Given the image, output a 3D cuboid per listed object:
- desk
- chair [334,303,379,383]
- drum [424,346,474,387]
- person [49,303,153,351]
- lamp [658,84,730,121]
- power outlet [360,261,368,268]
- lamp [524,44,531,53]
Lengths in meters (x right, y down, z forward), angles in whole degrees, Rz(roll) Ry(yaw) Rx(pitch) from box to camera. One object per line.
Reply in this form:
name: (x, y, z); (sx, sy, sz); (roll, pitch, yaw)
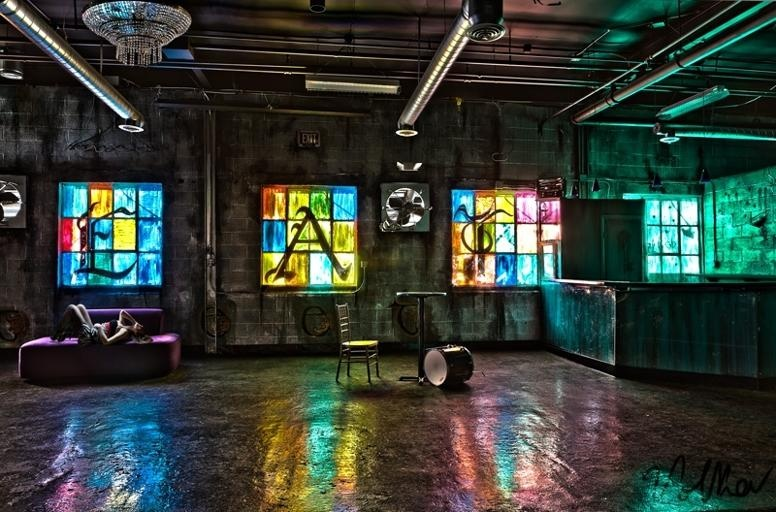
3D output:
desk: (0.560, 1.524, 11.662); (1.235, 1.993, 1.275); (-1, -10, 6)
chair: (-0.544, 1.450, 11.430); (0.791, 1.334, 2.071); (-2, 0, -3)
drum: (0.965, 1.789, 10.368); (0.782, 0.661, 0.359); (-2, 0, 1)
person: (-4.877, 1.269, 10.954); (1.546, 0.675, 0.990); (3, 2, -20)
lamp: (5.481, -2.801, 11.674); (0.460, 0.299, 1.470); (-2, 0, -13)
power outlet: (-0.473, 0.176, 12.770); (0.136, 0.146, 0.027); (-2, 0, -19)
lamp: (2.486, -3.695, 11.511); (0.130, 0.122, 0.032); (-2, 27, 2)
